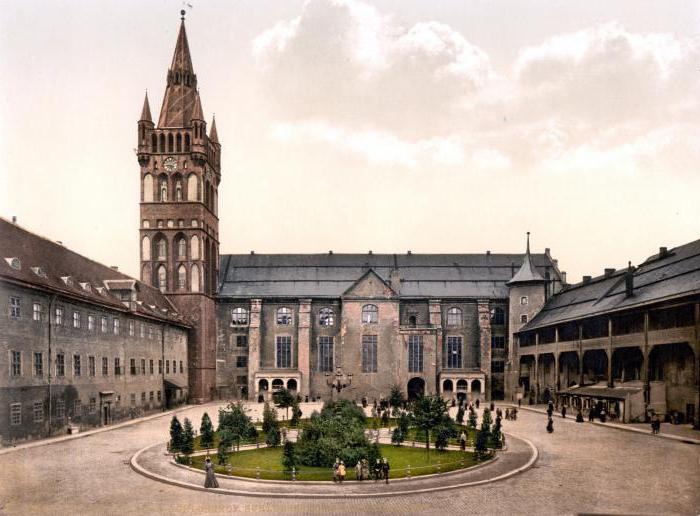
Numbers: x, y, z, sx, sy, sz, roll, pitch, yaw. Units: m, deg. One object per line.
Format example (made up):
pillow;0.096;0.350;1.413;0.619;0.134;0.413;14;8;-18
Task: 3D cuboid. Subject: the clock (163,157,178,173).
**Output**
clock;-22.547;-11.730;125.878;1.851;2.015;0.257;0;-1;7
